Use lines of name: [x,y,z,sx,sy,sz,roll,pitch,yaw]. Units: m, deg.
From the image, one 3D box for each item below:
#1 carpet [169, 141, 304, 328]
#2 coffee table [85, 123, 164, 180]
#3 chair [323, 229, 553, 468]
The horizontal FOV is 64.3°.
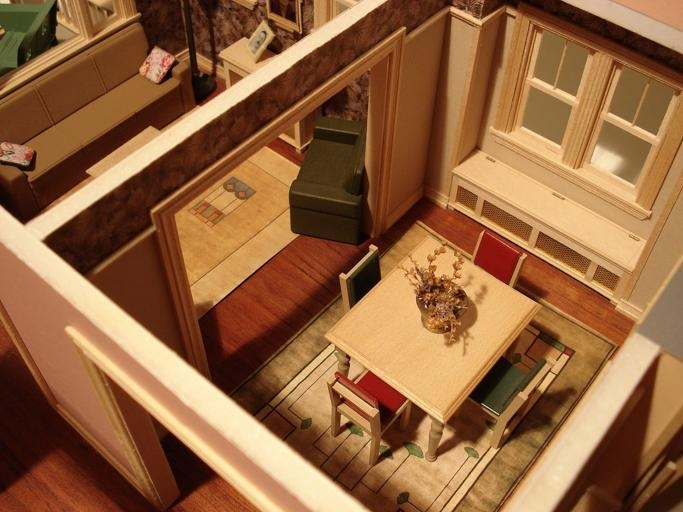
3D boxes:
carpet: [-1.269,-0.331,6.743,1.610,2.473,0.011,37,-24,20]
coffee table: [-2.724,-1.326,6.880,0.552,0.885,0.288,19,-23,45]
chair: [0.840,1.093,5.571,1.881,2.015,1.217,32,-22,20]
